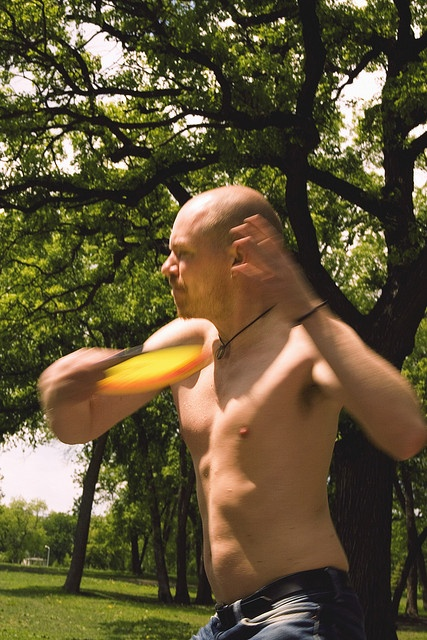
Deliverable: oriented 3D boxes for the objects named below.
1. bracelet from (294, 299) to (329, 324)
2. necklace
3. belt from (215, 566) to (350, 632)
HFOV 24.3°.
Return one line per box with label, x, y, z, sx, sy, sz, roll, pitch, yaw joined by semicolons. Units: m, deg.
bracelet;0.556;-0.052;5.677;0.157;0.036;0.042;-41;10;10
necklace;0.173;0.053;5.901;0.518;0.167;0.027;-47;-24;21
belt;0.386;1.574;5.681;0.493;0.176;0.400;-20;-18;-3
